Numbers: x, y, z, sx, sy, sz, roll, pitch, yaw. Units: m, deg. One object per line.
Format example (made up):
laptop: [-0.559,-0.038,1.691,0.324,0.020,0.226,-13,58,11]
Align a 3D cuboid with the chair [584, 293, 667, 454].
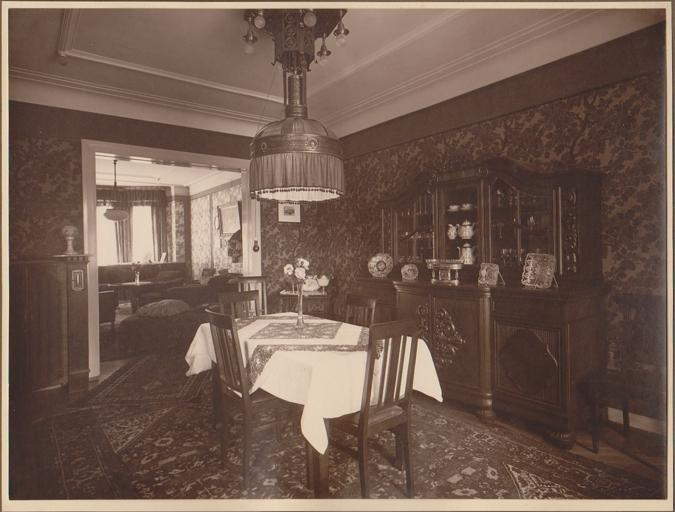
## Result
chair: [2.476,0.977,4.283,0.581,1.175,0.484,-2,0,34]

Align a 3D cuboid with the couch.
couch: [-3.974,0.482,10.169,1.757,0.787,2.029,-2,-1,-20]

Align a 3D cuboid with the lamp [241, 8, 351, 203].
lamp: [-0.354,-1.327,4.327,0.886,1.624,0.783,-2,0,14]

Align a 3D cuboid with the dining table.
dining table: [-0.146,1.130,4.110,1.666,1.398,0.916,-2,0,22]

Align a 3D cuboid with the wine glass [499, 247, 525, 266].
wine glass: [1.764,0.004,5.094,0.173,0.137,0.173,-2,-4,36]

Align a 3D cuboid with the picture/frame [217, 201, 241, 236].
picture/frame: [-2.131,-0.720,9.803,0.100,0.685,1.189,-2,-1,-31]

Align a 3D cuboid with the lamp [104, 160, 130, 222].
lamp: [-4.711,-1.238,10.641,0.468,1.316,2.269,-2,-1,-23]

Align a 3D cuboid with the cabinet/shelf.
cabinet/shelf: [1.462,0.481,4.737,0.858,2.751,2.695,3,-2,-27]

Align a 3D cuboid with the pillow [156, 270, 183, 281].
pillow: [-3.570,0.397,10.580,0.273,0.139,0.326,-4,9,-23]
